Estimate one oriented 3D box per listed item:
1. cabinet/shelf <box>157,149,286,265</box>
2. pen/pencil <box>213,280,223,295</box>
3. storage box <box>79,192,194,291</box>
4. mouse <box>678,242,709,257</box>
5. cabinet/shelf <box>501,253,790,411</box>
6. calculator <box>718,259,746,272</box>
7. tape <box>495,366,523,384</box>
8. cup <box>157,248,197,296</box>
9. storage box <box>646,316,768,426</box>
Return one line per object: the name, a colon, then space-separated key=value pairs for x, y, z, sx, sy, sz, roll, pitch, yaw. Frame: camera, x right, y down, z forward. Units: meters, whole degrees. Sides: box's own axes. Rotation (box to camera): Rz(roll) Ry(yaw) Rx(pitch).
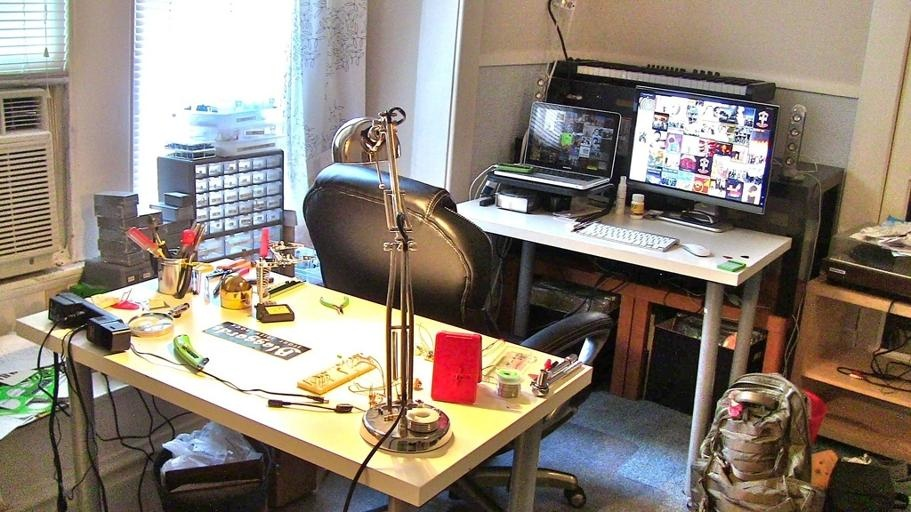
cabinet/shelf: x=-1.293 y=-0.270 z=3.596 sx=0.611 sy=0.495 sz=0.214 roll=-17 pitch=29 yaw=-40
pen/pencil: x=-1.070 y=0.145 z=2.994 sx=0.022 sy=0.096 sz=0.026 roll=28 pitch=53 yaw=-17
storage box: x=-1.595 y=-0.054 z=3.277 sx=0.216 sy=0.369 sz=0.441 roll=18 pitch=26 yaw=30
mouse: x=1.251 y=-0.031 z=3.472 sx=0.161 sy=0.038 sz=0.142 roll=8 pitch=21 yaw=25
cabinet/shelf: x=1.095 y=0.415 z=3.597 sx=0.932 sy=0.472 sz=0.292 roll=17 pitch=27 yaw=31
calculator: x=1.372 y=0.052 z=3.313 sx=0.107 sy=0.021 sz=0.162 roll=15 pitch=24 yaw=39
tape: x=0.202 y=0.449 z=2.540 sx=0.068 sy=0.020 sz=0.067 roll=8 pitch=10 yaw=37
cup: x=-1.229 y=0.074 z=3.037 sx=0.207 sy=0.170 sz=0.196 roll=7 pitch=6 yaw=-1
storage box: x=1.391 y=0.621 z=3.649 sx=0.680 sy=0.434 sz=0.368 roll=12 pitch=14 yaw=38
